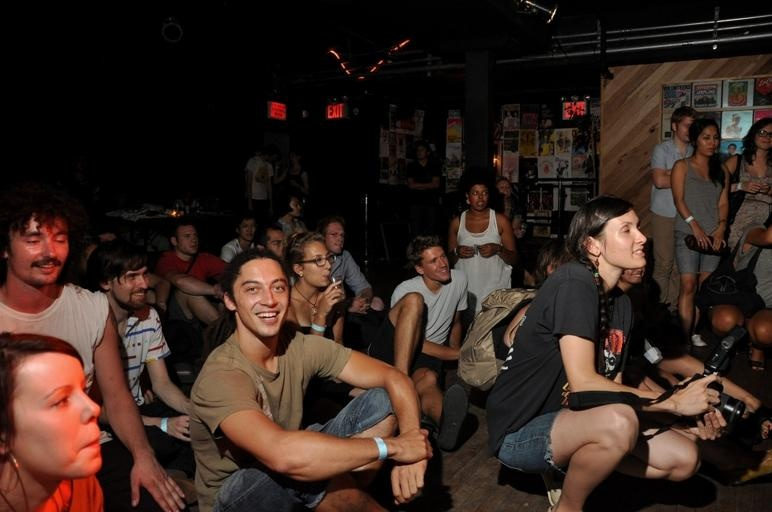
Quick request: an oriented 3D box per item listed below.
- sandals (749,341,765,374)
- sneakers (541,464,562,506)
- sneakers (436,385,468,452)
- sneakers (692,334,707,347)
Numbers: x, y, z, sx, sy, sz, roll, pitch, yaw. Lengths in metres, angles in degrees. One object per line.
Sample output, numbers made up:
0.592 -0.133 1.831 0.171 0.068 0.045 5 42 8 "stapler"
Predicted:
3.470 0.964 4.847 0.101 0.128 0.342 -4 2 31 "sandals"
0.939 1.307 2.954 0.111 0.296 0.084 -4 -14 13 "sneakers"
0.430 1.024 3.397 0.170 0.444 0.182 11 10 16 "sneakers"
3.377 0.910 5.595 0.102 0.116 0.282 -1 11 33 "sneakers"
